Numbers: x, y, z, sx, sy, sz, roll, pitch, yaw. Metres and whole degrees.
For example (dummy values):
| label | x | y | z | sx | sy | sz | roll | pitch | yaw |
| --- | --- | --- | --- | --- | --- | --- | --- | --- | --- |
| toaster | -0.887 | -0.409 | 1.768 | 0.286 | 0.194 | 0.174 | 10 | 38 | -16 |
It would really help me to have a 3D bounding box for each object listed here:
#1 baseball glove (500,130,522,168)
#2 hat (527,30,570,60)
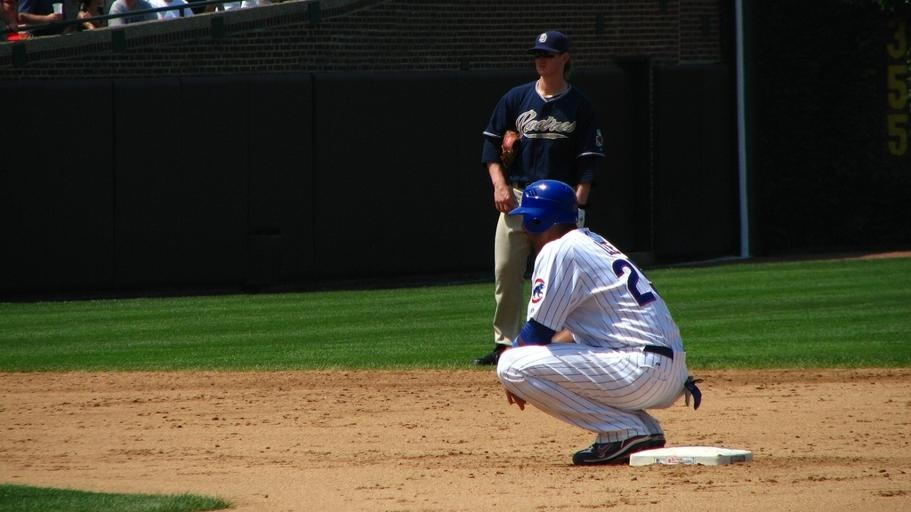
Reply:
| label | x | y | z | sx | sy | sz | roll | pitch | yaw |
| --- | --- | --- | --- | --- | --- | --- | --- | --- | --- |
| baseball glove | 0.720 | -1.336 | 22.725 | 0.239 | 0.333 | 0.326 | 30 | -10 | 14 |
| hat | 1.284 | -2.654 | 22.703 | 0.563 | 0.271 | 0.407 | 1 | 5 | -32 |
